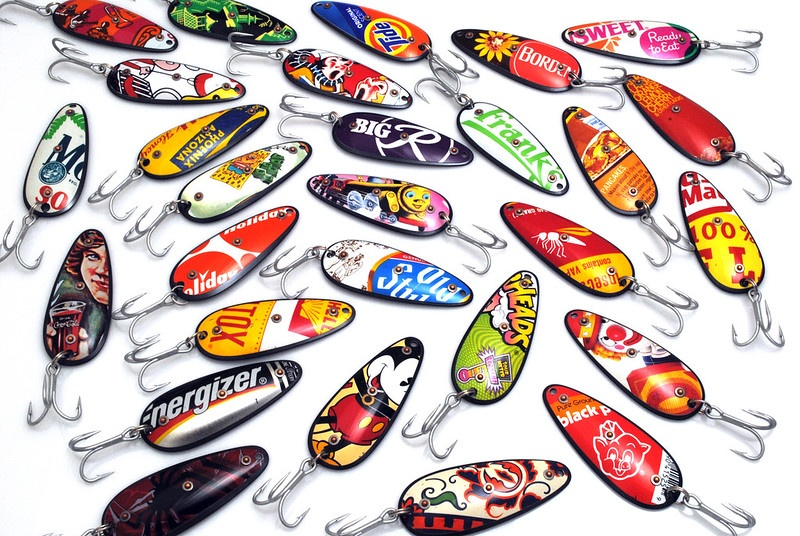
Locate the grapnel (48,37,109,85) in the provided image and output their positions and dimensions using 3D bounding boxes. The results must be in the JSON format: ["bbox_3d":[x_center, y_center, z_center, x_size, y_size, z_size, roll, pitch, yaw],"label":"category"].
[{"bbox_3d":[-1.344,-0.885,3.452,0.234,0.034,0.188,11,68,-1],"label":"grapnel"}]

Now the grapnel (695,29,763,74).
[{"bbox_3d":[1.448,-0.960,3.617,0.237,0.036,0.209,6,72,8],"label":"grapnel"}]

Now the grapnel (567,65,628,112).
[{"bbox_3d":[0.848,-0.769,3.481,0.195,0.030,0.214,7,57,10],"label":"grapnel"}]

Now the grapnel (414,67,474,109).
[{"bbox_3d":[0.199,-0.748,3.486,0.194,0.052,0.194,46,53,9],"label":"grapnel"}]

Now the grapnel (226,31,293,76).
[{"bbox_3d":[-0.603,-0.934,3.479,0.236,0.043,0.186,0,71,-1],"label":"grapnel"}]

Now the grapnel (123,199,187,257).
[{"bbox_3d":[-0.993,-0.172,3.167,0.360,0.225,0.055,-12,46,-38],"label":"grapnel"}]
